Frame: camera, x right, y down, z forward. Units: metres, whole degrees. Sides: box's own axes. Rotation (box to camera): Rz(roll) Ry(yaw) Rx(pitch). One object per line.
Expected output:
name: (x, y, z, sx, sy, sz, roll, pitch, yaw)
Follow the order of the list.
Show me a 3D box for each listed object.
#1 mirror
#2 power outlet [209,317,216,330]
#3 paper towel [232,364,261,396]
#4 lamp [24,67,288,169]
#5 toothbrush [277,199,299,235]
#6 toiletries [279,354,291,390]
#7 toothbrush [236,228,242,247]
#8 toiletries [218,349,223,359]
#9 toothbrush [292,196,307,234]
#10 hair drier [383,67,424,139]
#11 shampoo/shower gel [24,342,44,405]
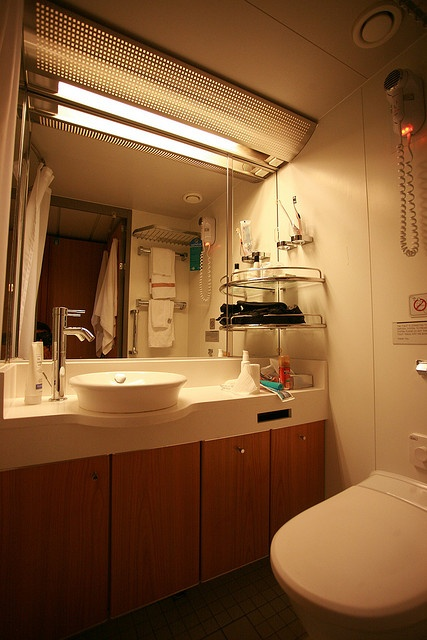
mirror: (-0.335, -0.405, 1.909, 0.941, 1.170, 0.027, 3, -3, -41)
power outlet: (-0.009, 0.019, 2.144, 0.043, 0.092, 0.008, 3, -7, -33)
paper towel: (0.132, 0.247, 1.778, 0.097, 0.128, 0.100, 1, -4, -10)
lamp: (-0.344, -0.864, 1.879, 0.834, 0.159, 0.034, 8, 22, -29)
toothbrush: (0.373, -0.507, 2.192, 0.030, 0.241, 0.044, -22, -11, 14)
toiletries: (0.316, 0.234, 1.912, 0.060, 0.142, 0.054, 1, -3, -9)
toothbrush: (0.130, -0.427, 2.286, 0.015, 0.114, 0.019, -9, -7, -33)
toiletries: (0.037, 0.159, 2.136, 0.018, 0.041, 0.036, 0, -12, 1)
toothbrush: (0.419, -0.492, 2.144, 0.032, 0.238, 0.031, -2, -13, -22)
hair drier: (0.682, -0.786, 1.559, 0.118, 0.225, 0.154, -1, -4, 43)
shampoo/shower gel: (-0.618, 0.184, 1.505, 0.051, 0.211, 0.058, 2, -3, -28)
